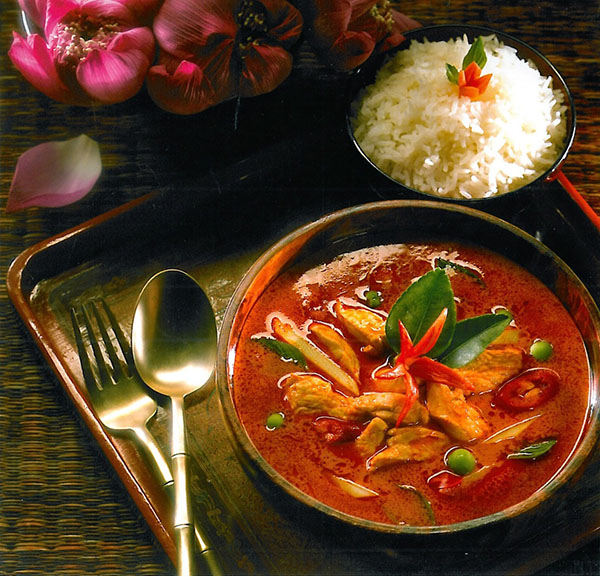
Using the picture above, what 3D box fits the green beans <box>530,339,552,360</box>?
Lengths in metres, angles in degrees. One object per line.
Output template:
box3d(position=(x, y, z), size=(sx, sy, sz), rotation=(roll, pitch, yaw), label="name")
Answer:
box3d(position=(0.300, 0.077, 0.891), size=(0.030, 0.014, 0.021), rotation=(-8, 81, 1), label="green beans")

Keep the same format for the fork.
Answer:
box3d(position=(-0.216, 0.137, 0.880), size=(0.076, 0.055, 0.321), rotation=(-31, 64, -5), label="fork")

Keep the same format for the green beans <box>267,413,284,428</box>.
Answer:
box3d(position=(-0.029, 0.158, 0.848), size=(0.016, 0.019, 0.014), rotation=(30, 32, -19), label="green beans")

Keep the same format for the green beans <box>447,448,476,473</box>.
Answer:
box3d(position=(0.187, 0.198, 0.822), size=(0.035, 0.018, 0.025), rotation=(-11, 90, 4), label="green beans")
